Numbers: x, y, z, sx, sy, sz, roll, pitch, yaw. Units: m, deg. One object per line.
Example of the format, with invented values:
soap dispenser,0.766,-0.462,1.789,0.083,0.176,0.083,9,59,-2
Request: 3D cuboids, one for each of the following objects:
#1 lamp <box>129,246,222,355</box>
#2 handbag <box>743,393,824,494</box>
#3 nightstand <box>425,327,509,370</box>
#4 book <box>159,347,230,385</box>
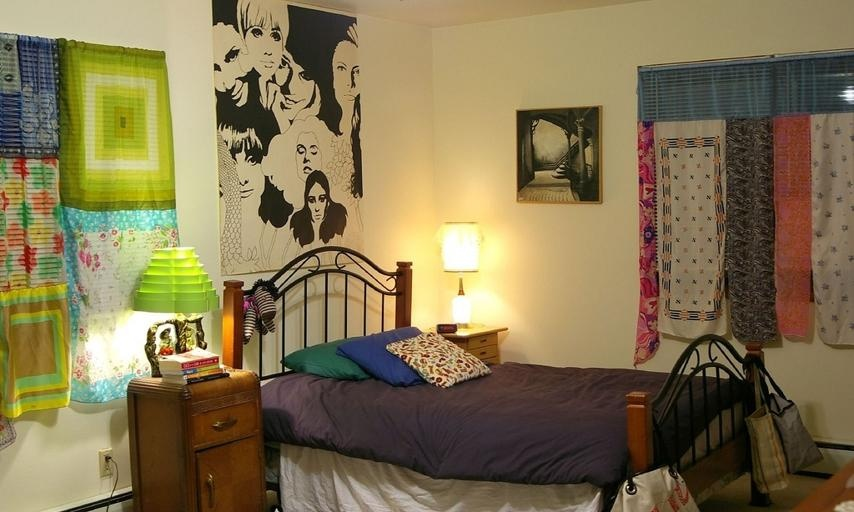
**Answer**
lamp,-1.814,0.282,4.606,0.755,1.024,0.649,-1,-1,-25
handbag,2.647,1.423,4.596,0.658,0.656,0.274,-21,2,-27
nightstand,0.428,0.792,5.977,0.401,0.527,0.560,1,3,32
book,-1.537,0.706,4.127,0.251,0.088,0.263,4,6,40
